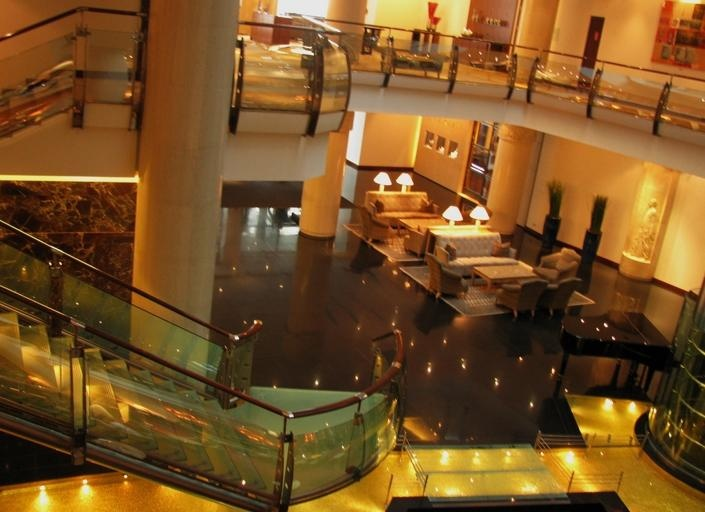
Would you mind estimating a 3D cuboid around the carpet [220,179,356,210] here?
[{"bbox_3d":[-3.017,-2.014,20.064,3.375,0.144,1.273,3,44,-14],"label":"carpet"}]

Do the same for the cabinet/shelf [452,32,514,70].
[{"bbox_3d":[3.869,-6.165,18.172,1.685,1.177,7.177,8,18,6],"label":"cabinet/shelf"}]

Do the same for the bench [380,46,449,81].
[{"bbox_3d":[1.461,-4.648,14.639,1.753,0.543,0.309,-6,21,-33],"label":"bench"}]

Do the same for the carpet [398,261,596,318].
[{"bbox_3d":[3.560,1.004,15.053,5.039,0.250,2.665,8,18,7],"label":"carpet"}]

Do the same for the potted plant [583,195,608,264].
[{"bbox_3d":[7.153,-0.797,17.979,0.440,2.027,0.539,12,19,20],"label":"potted plant"}]
